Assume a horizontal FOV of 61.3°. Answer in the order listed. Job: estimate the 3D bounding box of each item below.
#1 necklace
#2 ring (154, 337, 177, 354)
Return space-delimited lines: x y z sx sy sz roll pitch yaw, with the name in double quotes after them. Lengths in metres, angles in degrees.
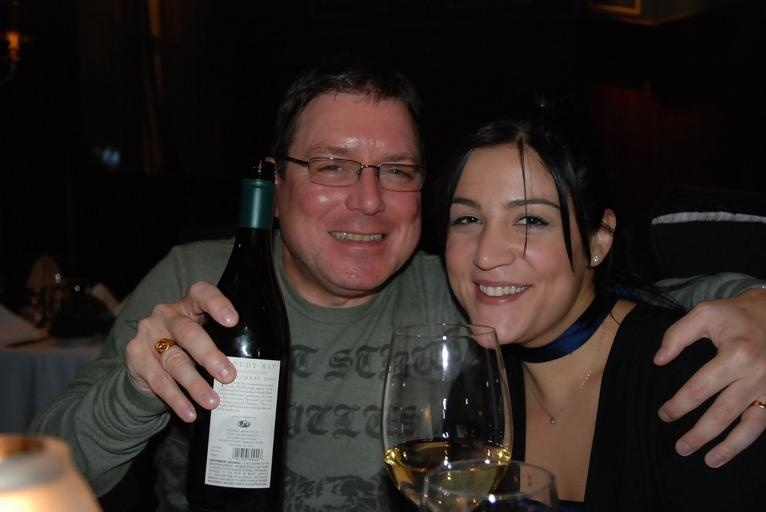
0.866 0.506 2.954 0.120 0.519 0.299 26 -6 -42 "necklace"
-0.793 0.322 2.348 0.054 0.036 0.069 -32 2 3 "ring"
